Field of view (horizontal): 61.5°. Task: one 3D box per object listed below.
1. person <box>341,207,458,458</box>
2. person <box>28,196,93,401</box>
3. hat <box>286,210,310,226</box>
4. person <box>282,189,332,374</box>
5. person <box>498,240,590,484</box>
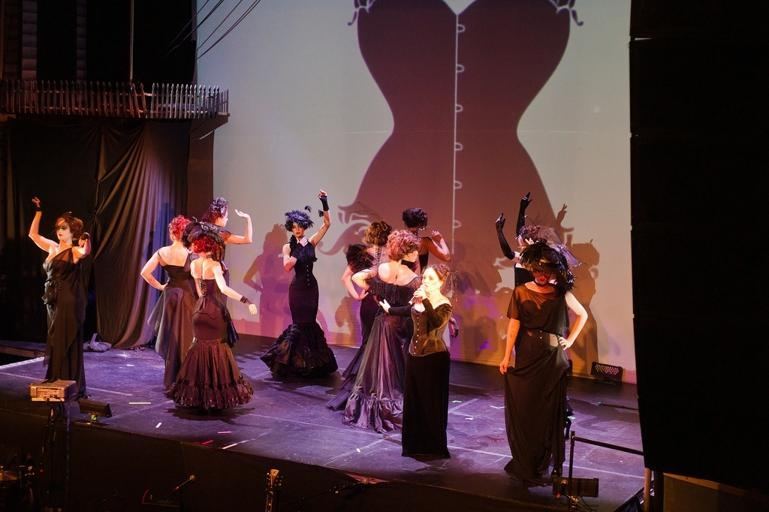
[{"bbox_3d":[0.135,0.582,6.001,0.880,2.212,1.403,5,1,-7],"label":"person"},{"bbox_3d":[-3.354,0.494,6.772,0.513,1.777,0.600,5,1,-38],"label":"person"},{"bbox_3d":[-1.012,-0.444,7.707,0.298,0.191,0.162,5,0,-37],"label":"hat"},{"bbox_3d":[-0.892,0.510,7.710,0.717,2.013,0.428,5,1,-10],"label":"person"},{"bbox_3d":[1.228,0.821,5.113,0.600,1.937,0.447,5,1,18],"label":"person"}]
